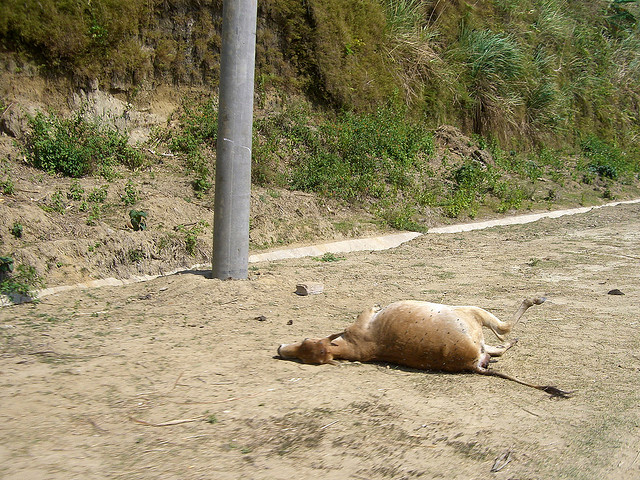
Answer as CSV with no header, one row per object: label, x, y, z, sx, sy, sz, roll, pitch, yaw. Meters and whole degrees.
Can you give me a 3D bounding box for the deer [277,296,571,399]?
deer,1.179,1.248,10.698,3.128,0.993,0.661,0,13,7
